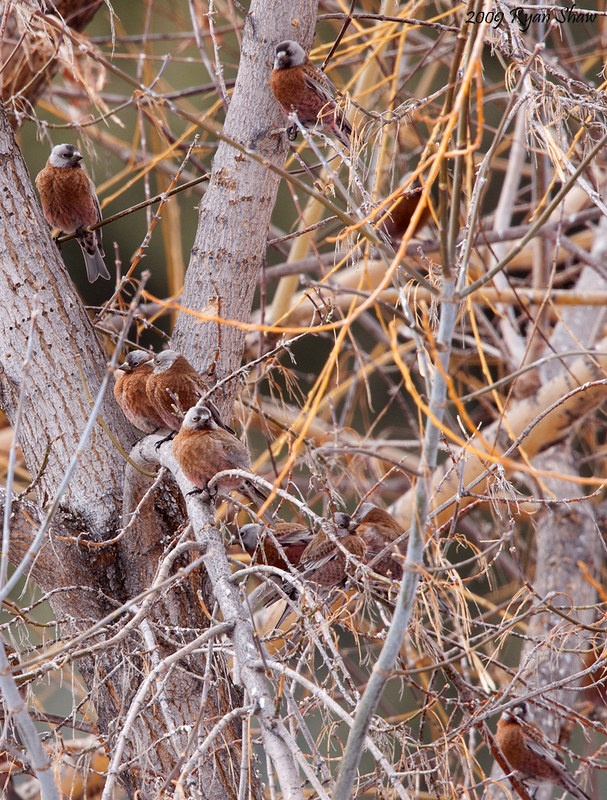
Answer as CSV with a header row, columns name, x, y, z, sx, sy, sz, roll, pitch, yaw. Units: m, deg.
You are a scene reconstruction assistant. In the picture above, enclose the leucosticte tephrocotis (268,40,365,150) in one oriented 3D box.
name,x,y,z,sx,sy,sz,roll,pitch,yaw
leucosticte tephrocotis,0.048,-1.010,3.775,0.346,0.185,0.343,-7,94,-36
